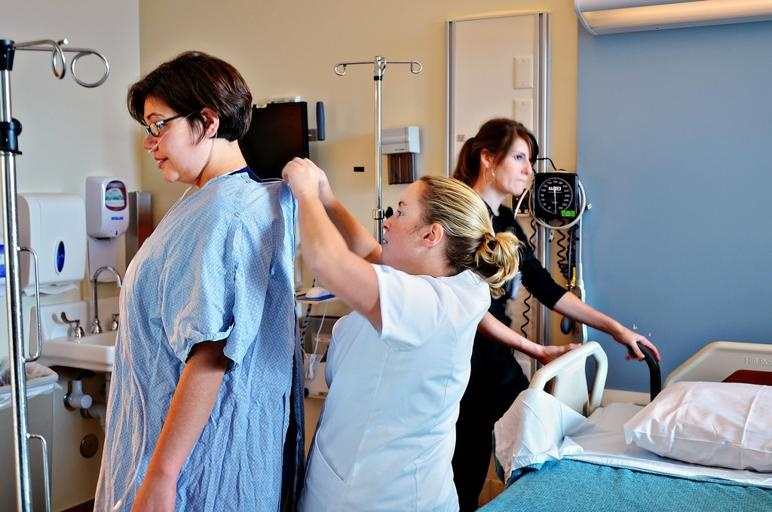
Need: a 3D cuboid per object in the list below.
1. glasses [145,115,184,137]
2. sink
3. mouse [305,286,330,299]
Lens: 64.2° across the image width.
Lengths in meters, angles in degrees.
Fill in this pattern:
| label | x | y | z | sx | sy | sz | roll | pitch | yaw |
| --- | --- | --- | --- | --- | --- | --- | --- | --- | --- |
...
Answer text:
| label | x | y | z | sx | sy | sz | roll | pitch | yaw |
| --- | --- | --- | --- | --- | --- | --- | --- | --- | --- |
| glasses | -0.657 | -0.388 | 1.821 | 0.076 | 0.024 | 0.073 | -21 | 1 | -38 |
| sink | -1.744 | 0.455 | 3.604 | 0.494 | 0.289 | 0.493 | 7 | 1 | 5 |
| mouse | -0.377 | 0.207 | 3.401 | 0.079 | 0.045 | 0.149 | 2 | 4 | 8 |
